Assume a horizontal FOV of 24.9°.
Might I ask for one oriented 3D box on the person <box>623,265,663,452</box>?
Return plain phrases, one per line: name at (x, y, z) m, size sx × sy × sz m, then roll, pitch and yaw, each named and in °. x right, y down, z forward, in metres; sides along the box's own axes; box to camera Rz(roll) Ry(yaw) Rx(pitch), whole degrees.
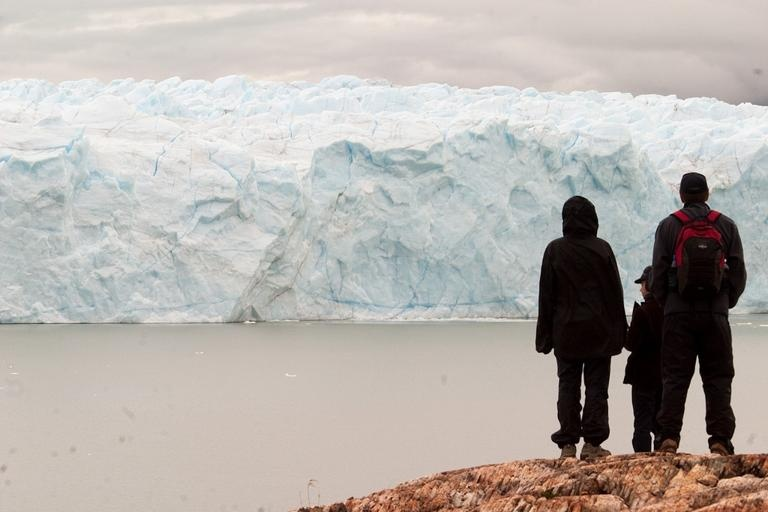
person at (6.338, 2.613, 41.315) m, size 1.093 × 4.041 × 1.034 m, roll 1°, pitch -6°, yaw 2°
